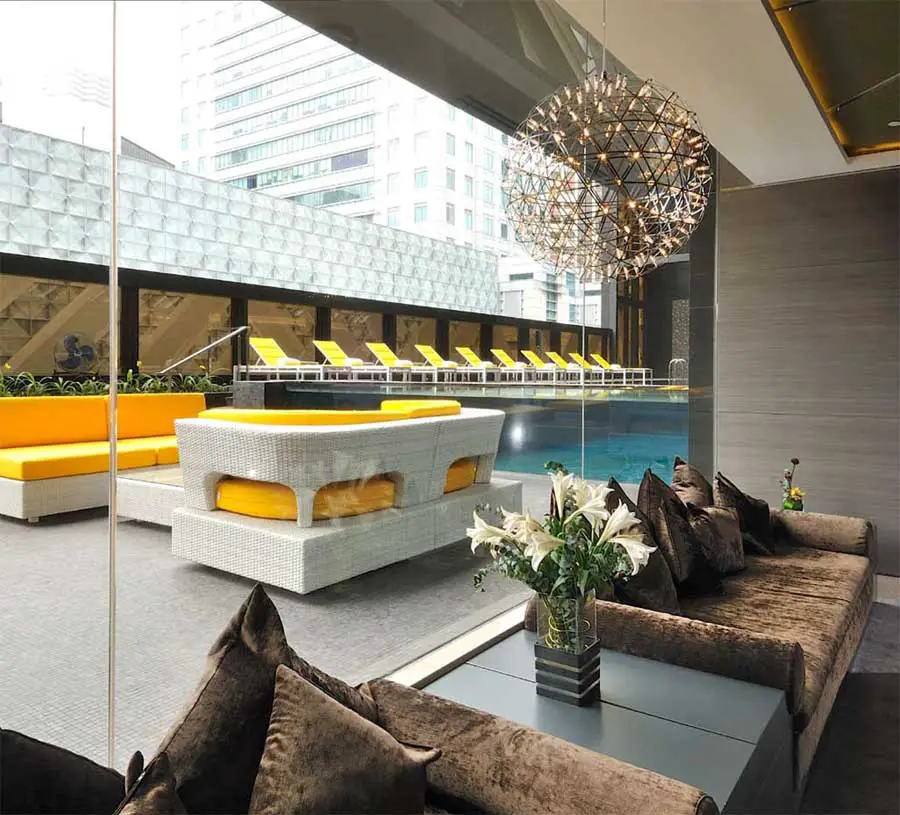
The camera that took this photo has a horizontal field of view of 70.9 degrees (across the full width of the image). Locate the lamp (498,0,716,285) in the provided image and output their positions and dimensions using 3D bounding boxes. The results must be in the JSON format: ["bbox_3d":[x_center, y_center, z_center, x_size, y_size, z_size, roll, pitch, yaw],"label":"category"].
[{"bbox_3d":[0.690,-0.959,2.263,0.540,0.837,0.553,2,7,33],"label":"lamp"}]

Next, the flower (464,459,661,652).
[{"bbox_3d":[0.283,0.431,1.749,0.461,0.523,0.318,-1,3,-1],"label":"flower"}]
